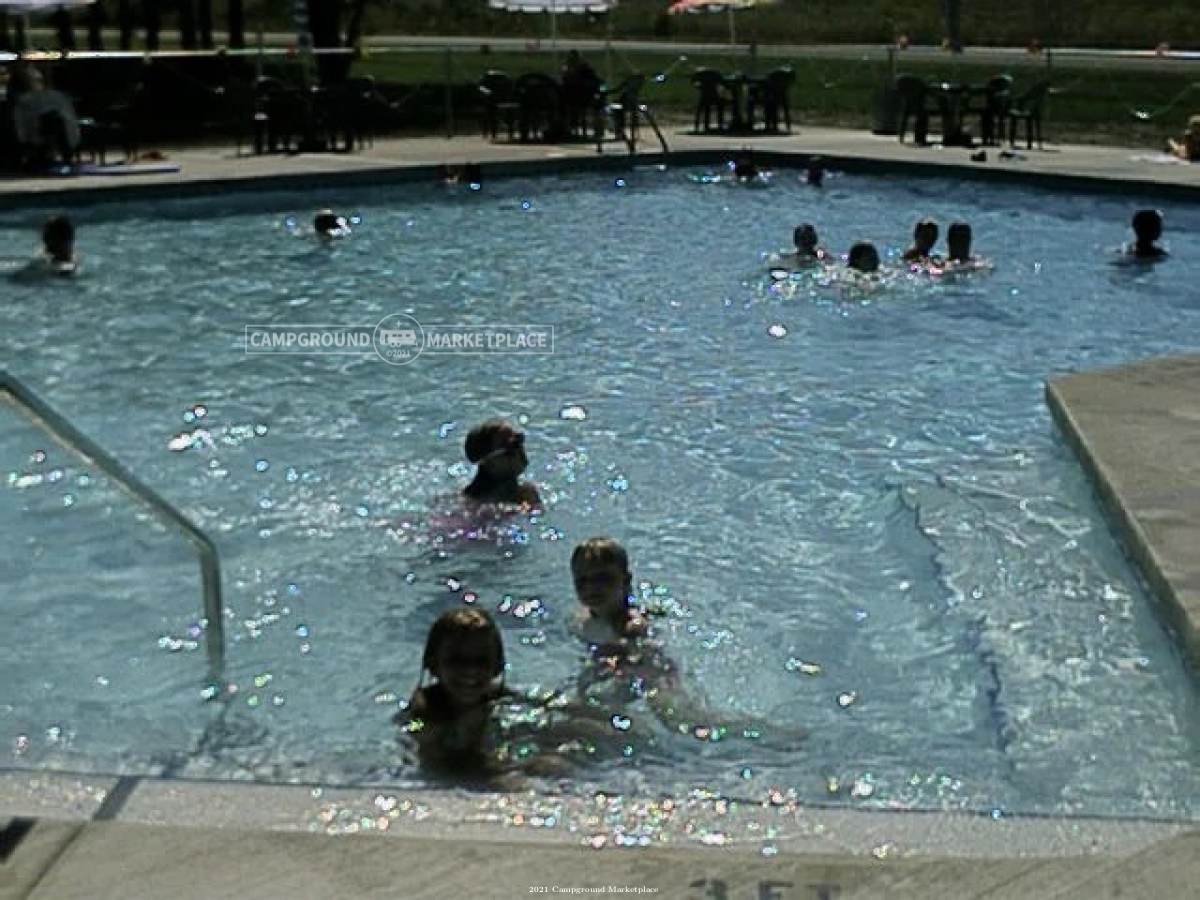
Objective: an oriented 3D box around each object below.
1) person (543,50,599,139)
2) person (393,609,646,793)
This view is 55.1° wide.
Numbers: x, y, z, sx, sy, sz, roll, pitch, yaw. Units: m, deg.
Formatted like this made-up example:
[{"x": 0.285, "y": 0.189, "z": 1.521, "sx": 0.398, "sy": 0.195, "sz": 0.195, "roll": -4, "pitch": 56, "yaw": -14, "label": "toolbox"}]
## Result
[{"x": -0.346, "y": -4.957, "z": 16.108, "sx": 0.610, "sy": 1.402, "sz": 1.053, "roll": 3, "pitch": 5, "yaw": -1, "label": "person"}, {"x": -0.277, "y": 0.858, "z": 4.023, "sx": 1.003, "sy": 0.466, "sz": 0.532, "roll": 3, "pitch": 16, "yaw": -18, "label": "person"}]
